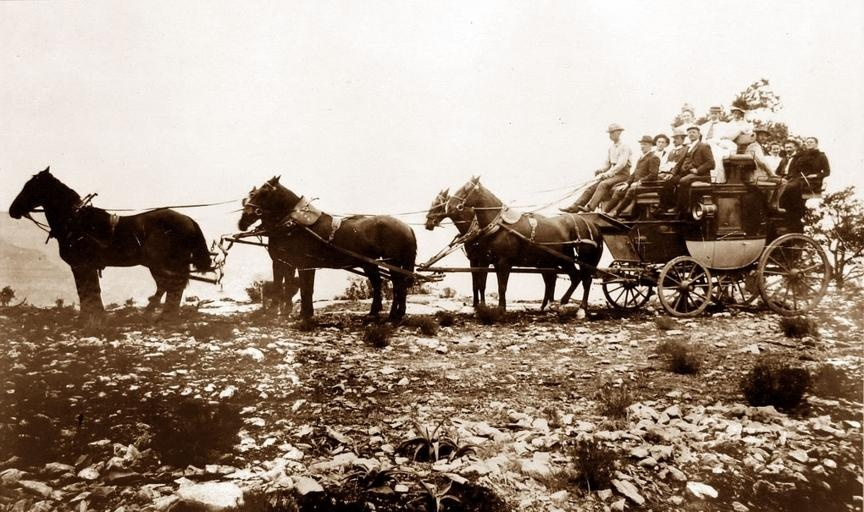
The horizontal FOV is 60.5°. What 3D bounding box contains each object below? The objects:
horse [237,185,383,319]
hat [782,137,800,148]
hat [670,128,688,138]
[{"bbox_3d":[-1.861,-0.146,13.802,3.641,2.270,0.886,6,3,6],"label":"horse"},{"bbox_3d":[6.586,-2.088,13.590,0.227,0.159,0.254,1,-3,26],"label":"hat"},{"bbox_3d":[4.772,-2.392,14.292,0.293,0.176,0.284,2,-3,11],"label":"hat"}]
